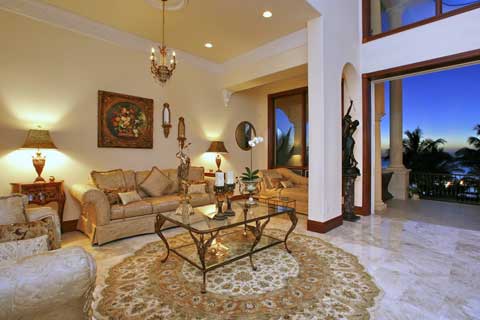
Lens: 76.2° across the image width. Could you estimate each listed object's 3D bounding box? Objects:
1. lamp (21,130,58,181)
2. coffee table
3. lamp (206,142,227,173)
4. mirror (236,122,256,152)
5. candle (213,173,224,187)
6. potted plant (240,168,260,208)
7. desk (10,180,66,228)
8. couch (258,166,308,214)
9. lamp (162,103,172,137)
[{"bbox_3d":[-4.139,-0.074,6.305,0.633,1.123,0.667,-6,-1,28],"label":"lamp"},{"bbox_3d":[-0.101,1.569,5.778,2.187,0.855,1.475,-6,-6,-34],"label":"coffee table"},{"bbox_3d":[-0.671,-0.115,8.914,0.639,0.872,0.468,-2,2,-22],"label":"lamp"},{"bbox_3d":[0.139,-0.726,9.558,0.087,1.137,1.104,0,0,33],"label":"mirror"},{"bbox_3d":[-0.355,0.353,5.383,0.162,0.261,0.114,-1,2,-3],"label":"candle"},{"bbox_3d":[0.222,0.522,6.041,0.450,0.693,0.384,1,-2,-22],"label":"potted plant"},{"bbox_3d":[-4.024,1.026,6.265,0.814,1.094,0.521,-6,-1,-35],"label":"desk"},{"bbox_3d":[1.391,0.805,8.263,1.563,0.947,0.998,5,3,42],"label":"couch"},{"bbox_3d":[-1.906,-1.034,7.982,0.287,0.906,0.083,-3,3,-43],"label":"lamp"}]
